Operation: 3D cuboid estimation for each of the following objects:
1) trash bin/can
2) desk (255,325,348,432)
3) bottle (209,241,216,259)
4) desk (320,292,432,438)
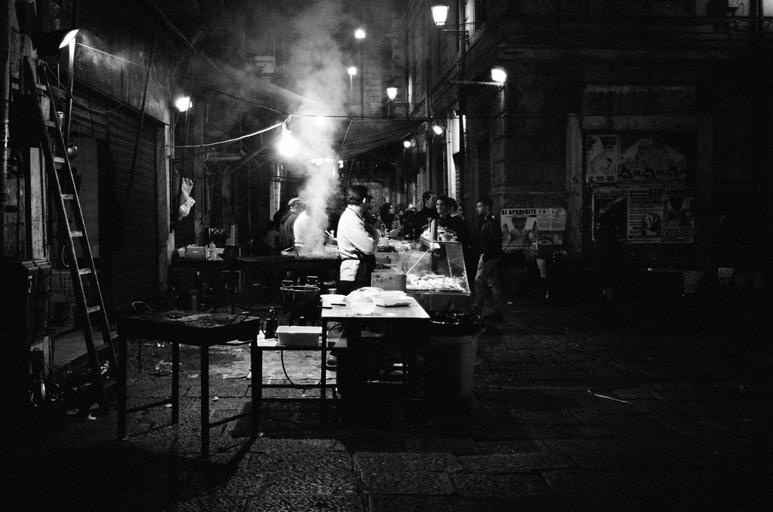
[{"bbox_3d":[0.981,1.661,12.989,1.108,1.271,1.048,1,-2,-11],"label":"trash bin/can"},{"bbox_3d":[-1.477,2.099,12.972,1.811,1.830,1.302,0,2,9],"label":"desk"},{"bbox_3d":[-4.202,-0.130,20.032,0.176,0.417,1.197,-2,0,-12],"label":"bottle"},{"bbox_3d":[-0.204,1.646,13.265,2.116,2.066,1.654,0,-3,3],"label":"desk"}]
